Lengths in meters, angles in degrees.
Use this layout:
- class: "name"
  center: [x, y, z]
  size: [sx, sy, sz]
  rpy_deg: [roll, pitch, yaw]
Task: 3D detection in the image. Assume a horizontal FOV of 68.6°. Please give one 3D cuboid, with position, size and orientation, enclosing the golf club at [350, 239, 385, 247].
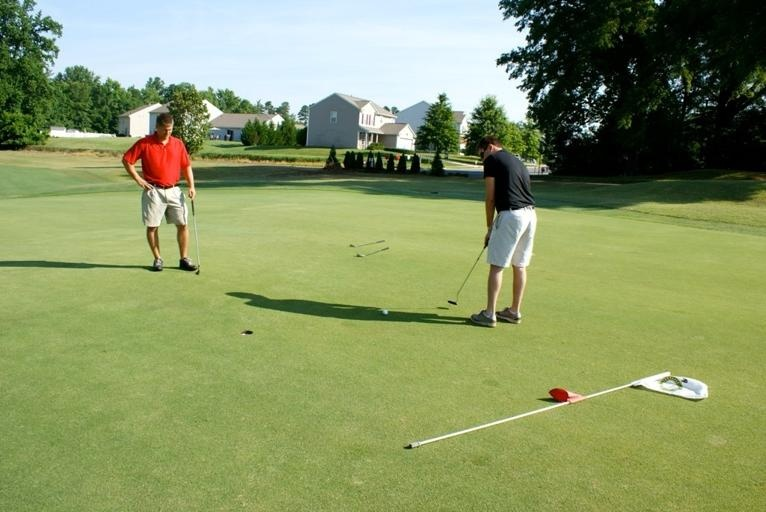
- class: "golf club"
  center: [-0.273, -0.210, 9.555]
  size: [0.423, 0.048, 0.084]
  rpy_deg: [-9, 33, -28]

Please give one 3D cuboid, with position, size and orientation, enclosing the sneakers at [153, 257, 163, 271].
- class: "sneakers"
  center: [-2.965, 0.111, 7.378]
  size: [0.123, 0.146, 0.238]
  rpy_deg: [-3, 14, -23]

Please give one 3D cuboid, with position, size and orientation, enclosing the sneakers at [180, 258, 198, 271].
- class: "sneakers"
  center: [-2.587, 0.115, 7.422]
  size: [0.353, 0.146, 0.120]
  rpy_deg: [8, 9, 30]

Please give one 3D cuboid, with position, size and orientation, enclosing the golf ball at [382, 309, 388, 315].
- class: "golf ball"
  center: [0.023, 0.619, 6.151]
  size: [0.069, 0.048, 0.037]
  rpy_deg: [5, -22, -36]

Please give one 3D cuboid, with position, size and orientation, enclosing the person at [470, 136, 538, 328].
- class: "person"
  center: [1.294, -0.261, 5.989]
  size: [0.617, 1.960, 0.651]
  rpy_deg: [5, 14, 9]

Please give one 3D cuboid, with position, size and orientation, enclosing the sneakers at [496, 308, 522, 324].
- class: "sneakers"
  center: [1.363, 0.656, 6.142]
  size: [0.288, 0.120, 0.129]
  rpy_deg: [6, 5, 33]

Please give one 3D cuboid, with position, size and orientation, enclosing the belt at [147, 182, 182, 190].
- class: "belt"
  center: [-2.928, -0.930, 7.498]
  size: [0.411, 0.078, 0.095]
  rpy_deg: [-10, 18, -43]

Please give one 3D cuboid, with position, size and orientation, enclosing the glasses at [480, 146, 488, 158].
- class: "glasses"
  center: [1.086, -1.121, 6.066]
  size: [0.081, 0.088, 0.103]
  rpy_deg: [0, -7, 2]

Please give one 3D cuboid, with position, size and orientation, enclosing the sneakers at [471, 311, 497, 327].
- class: "sneakers"
  center: [1.069, 0.676, 6.029]
  size: [0.274, 0.124, 0.120]
  rpy_deg: [8, 7, 32]
